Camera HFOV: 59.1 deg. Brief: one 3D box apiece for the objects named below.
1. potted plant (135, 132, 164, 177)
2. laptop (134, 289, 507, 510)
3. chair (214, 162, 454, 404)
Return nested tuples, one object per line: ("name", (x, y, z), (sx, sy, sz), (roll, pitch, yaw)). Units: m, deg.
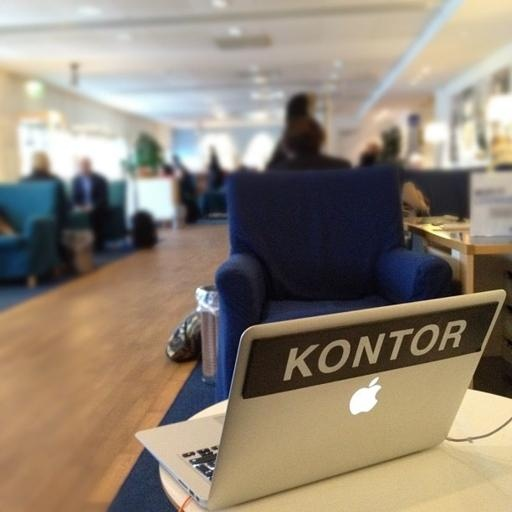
("potted plant", (-0.287, -0.272, 1.202), (0.068, 0.113, 0.036), (0, 12, 16))
("laptop", (0.052, 0.098, 0.421), (0.261, 0.168, 0.220), (-4, 7, -31))
("chair", (0.202, 0.036, 1.549), (0.703, 0.981, 0.683), (-1, 5, -6))
